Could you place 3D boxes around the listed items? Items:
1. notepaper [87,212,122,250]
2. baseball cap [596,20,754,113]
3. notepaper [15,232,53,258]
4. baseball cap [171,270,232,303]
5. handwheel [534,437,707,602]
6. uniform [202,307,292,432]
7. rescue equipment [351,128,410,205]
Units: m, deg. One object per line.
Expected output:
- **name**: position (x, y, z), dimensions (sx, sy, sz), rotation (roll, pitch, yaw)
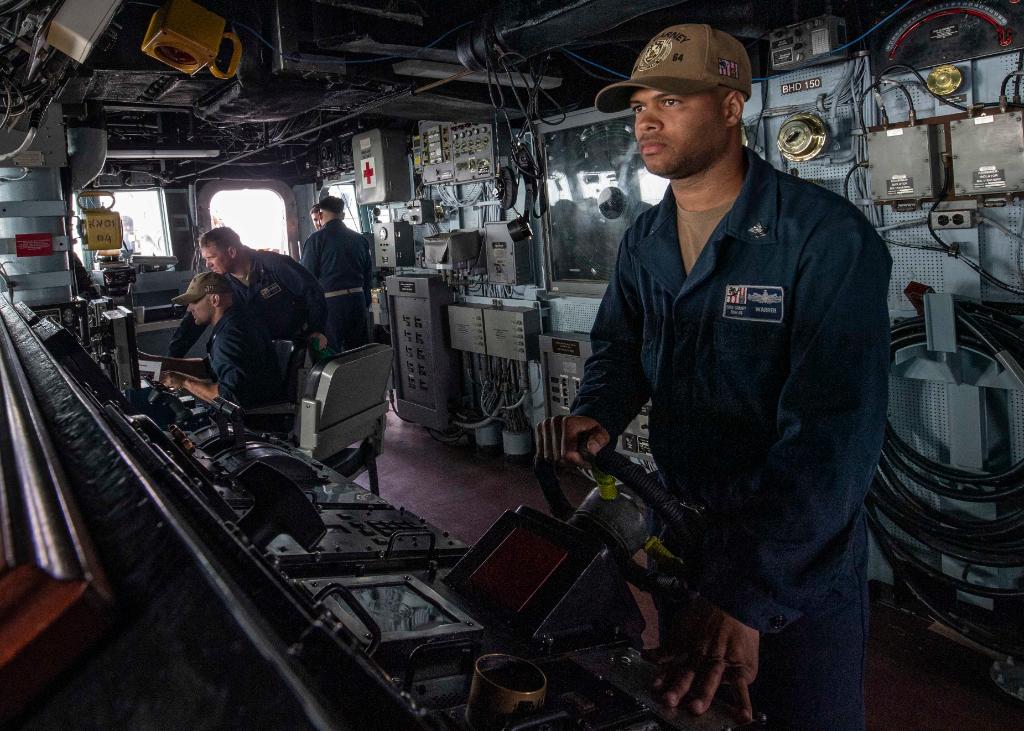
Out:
- **notepaper**: position (-2.656, -0.879, 4.544), dimensions (0.144, 0.269, 0.242), rotation (14, 11, 43)
- **baseball cap**: position (0.369, -0.646, 1.607), dimensions (0.312, 0.160, 0.223), rotation (-4, 17, -17)
- **notepaper**: position (-2.550, -0.643, 3.716), dimensions (0.184, 0.123, 0.041), rotation (-8, 10, -35)
- **baseball cap**: position (-1.827, -0.463, 4.114), dimensions (0.304, 0.158, 0.187), rotation (-4, 8, -16)
- **handwheel**: position (0.233, 0.329, 1.467), dimensions (0.356, 0.341, 0.324), rotation (-4, 13, 1)
- **uniform**: position (-1.586, -0.033, 4.193), dimensions (0.348, 0.702, 0.602), rotation (-5, 26, -12)
- **rescue equipment**: position (-1.273, -1.883, 6.634), dimensions (0.582, 0.657, 0.319), rotation (2, 14, 24)
